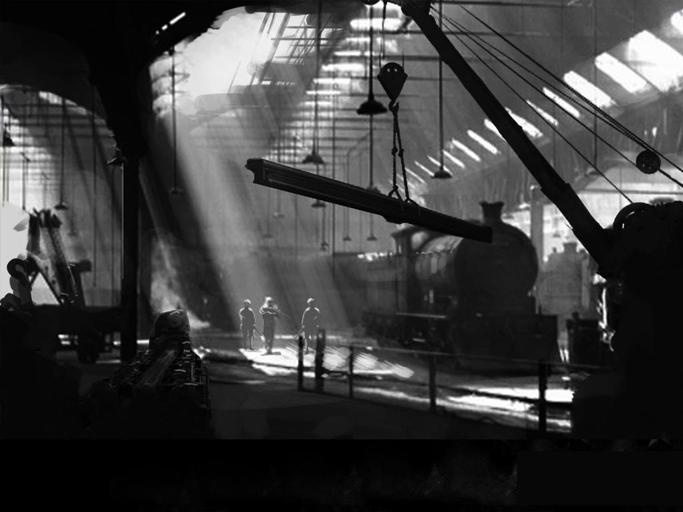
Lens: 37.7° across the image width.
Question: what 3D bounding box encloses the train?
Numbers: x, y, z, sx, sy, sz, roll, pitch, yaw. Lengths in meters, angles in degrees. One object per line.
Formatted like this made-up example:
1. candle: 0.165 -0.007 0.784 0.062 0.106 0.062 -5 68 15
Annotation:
1. train: 2.108 0.870 20.722 1.927 2.749 5.303 2 -5 -14

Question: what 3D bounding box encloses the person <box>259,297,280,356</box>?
1. person: -1.377 1.310 19.204 0.343 1.107 0.471 -2 -3 -13

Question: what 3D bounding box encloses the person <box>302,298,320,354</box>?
1. person: -0.594 1.243 19.030 0.370 0.954 0.317 -3 -3 8
